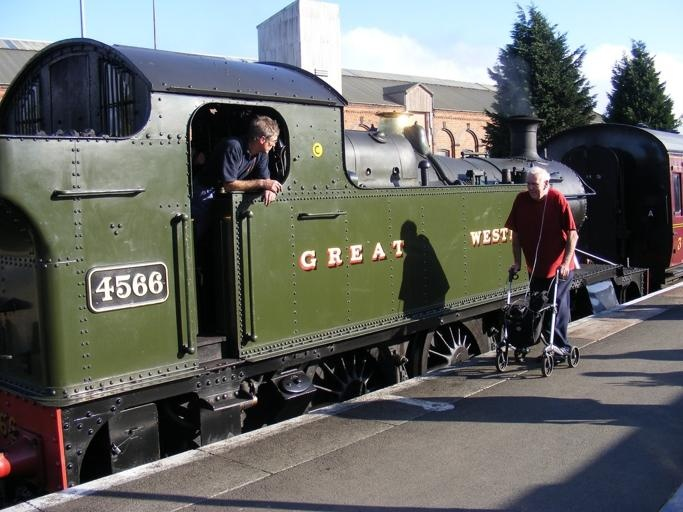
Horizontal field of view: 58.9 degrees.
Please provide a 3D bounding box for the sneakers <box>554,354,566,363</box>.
[{"bbox_3d":[2.293,1.080,6.329,0.120,0.069,0.088,3,-13,-18],"label":"sneakers"}]
